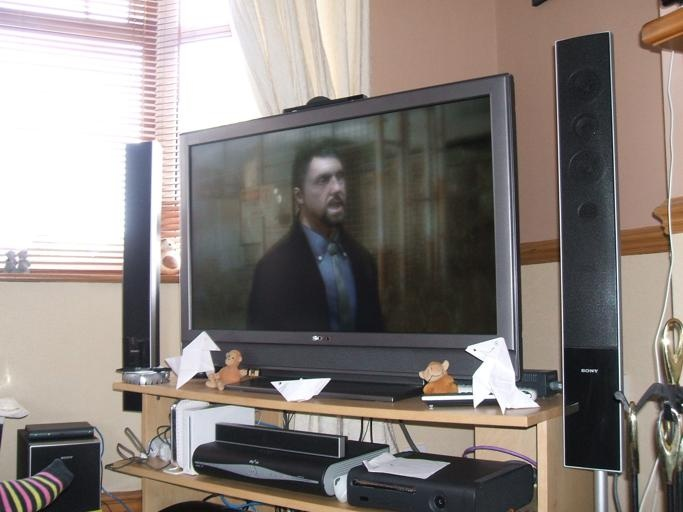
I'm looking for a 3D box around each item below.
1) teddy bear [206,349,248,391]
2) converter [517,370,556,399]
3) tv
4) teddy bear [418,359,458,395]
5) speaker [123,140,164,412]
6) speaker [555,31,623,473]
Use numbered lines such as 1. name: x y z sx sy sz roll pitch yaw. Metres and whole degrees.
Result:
1. teddy bear: -0.452 0.451 2.544 0.130 0.164 0.118 17 -13 -32
2. converter: 0.678 0.441 2.231 0.162 0.083 0.073 -2 -2 -35
3. tv: 0.037 -0.015 2.445 1.273 0.981 0.379 -2 -4 31
4. teddy bear: 0.341 0.420 2.225 0.101 0.088 0.116 -2 -2 -29
5. speaker: -0.871 -0.095 2.778 0.141 0.910 0.053 -3 34 -21
6. speaker: 0.776 -0.010 2.038 0.210 1.270 0.102 -4 -2 25
